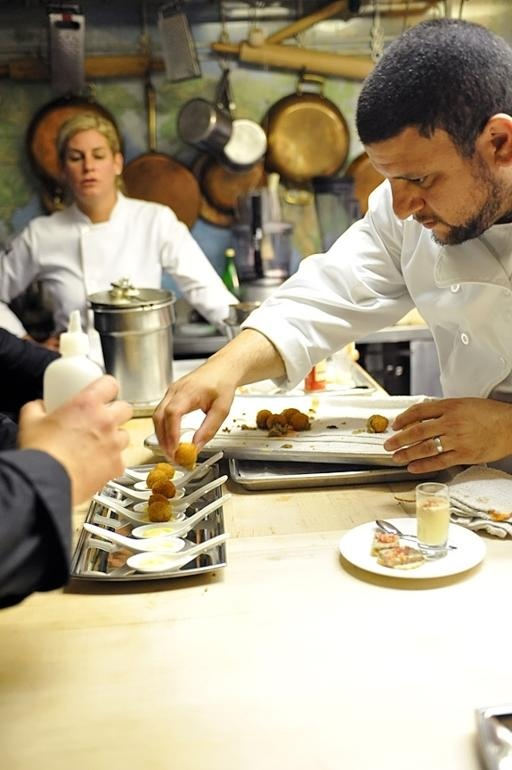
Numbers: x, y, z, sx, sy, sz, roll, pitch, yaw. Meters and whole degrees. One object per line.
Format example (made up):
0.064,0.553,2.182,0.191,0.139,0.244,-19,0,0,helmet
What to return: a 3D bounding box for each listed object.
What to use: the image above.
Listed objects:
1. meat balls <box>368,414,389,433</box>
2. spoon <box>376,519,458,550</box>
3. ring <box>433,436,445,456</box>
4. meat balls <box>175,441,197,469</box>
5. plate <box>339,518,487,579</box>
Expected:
0.271,0.084,1.430,0.042,0.028,0.037,-9,-9,27,meat balls
0.242,0.227,0.969,0.025,0.018,0.139,-22,25,-35,spoon
0.333,0.110,1.174,0.011,0.029,0.033,-14,-18,9,ring
-0.129,0.134,1.222,0.039,0.038,0.049,-12,5,-12,meat balls
0.232,0.244,0.959,0.213,0.029,0.190,-2,10,2,plate
